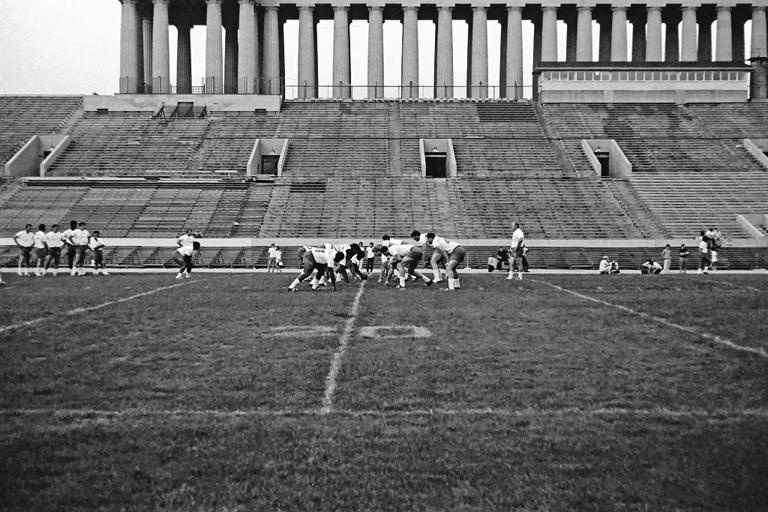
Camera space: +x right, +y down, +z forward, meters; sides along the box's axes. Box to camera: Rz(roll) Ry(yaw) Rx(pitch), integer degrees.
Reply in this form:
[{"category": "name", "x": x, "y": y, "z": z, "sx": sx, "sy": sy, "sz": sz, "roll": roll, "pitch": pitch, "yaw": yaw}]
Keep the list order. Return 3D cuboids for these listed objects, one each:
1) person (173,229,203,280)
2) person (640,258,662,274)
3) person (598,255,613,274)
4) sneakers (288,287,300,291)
[{"category": "person", "x": -5.908, "y": 0.040, "z": 22.804, "sx": 0.629, "sy": 1.538, "sz": 2.625, "roll": -2, "pitch": 9, "yaw": -15}, {"category": "person", "x": 10.113, "y": 0.438, "z": 28.959, "sx": 0.757, "sy": 0.312, "sz": 0.734, "roll": -6, "pitch": 9, "yaw": -32}, {"category": "person", "x": 8.454, "y": 0.332, "z": 29.112, "sx": 0.537, "sy": 0.701, "sz": 0.534, "roll": -5, "pitch": 8, "yaw": -34}, {"category": "sneakers", "x": -2.174, "y": 0.790, "z": 18.299, "sx": 0.256, "sy": 0.105, "sz": 0.086, "roll": -1, "pitch": 10, "yaw": 6}]
